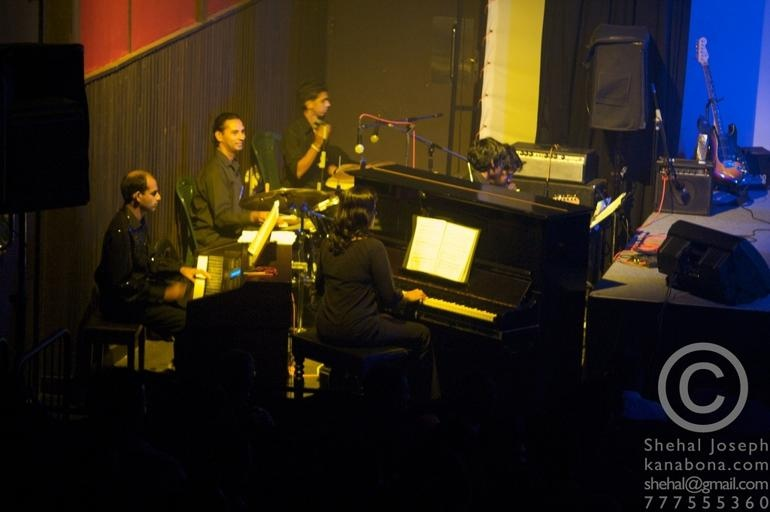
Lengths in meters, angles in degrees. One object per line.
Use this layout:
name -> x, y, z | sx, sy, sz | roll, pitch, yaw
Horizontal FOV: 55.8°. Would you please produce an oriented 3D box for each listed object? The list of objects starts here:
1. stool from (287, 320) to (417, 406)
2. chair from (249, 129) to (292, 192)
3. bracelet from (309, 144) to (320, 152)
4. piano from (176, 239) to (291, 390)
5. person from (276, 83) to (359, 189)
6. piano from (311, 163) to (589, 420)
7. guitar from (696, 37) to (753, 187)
stool -> -0.229, 0.835, 5.965 | 1.037, 0.712, 0.613 | -2, 3, -3
chair -> -1.377, -1.115, 8.395 | 0.189, 0.786, 0.407 | -1, 10, 41
bracelet -> -0.785, -1.224, 8.222 | 0.122, 0.094, 0.122 | 2, 4, 5
piano -> -1.192, 0.238, 6.019 | 0.761, 1.049, 1.476 | 2, 9, -3
person -> -0.836, -1.436, 8.643 | 0.674, 1.862, 0.841 | 5, 29, 14
piano -> 0.440, 0.396, 6.186 | 1.846, 1.873, 1.067 | 11, 7, 31
guitar -> 3.933, -1.750, 8.588 | 0.553, 1.733, 0.807 | 1, 3, -9
